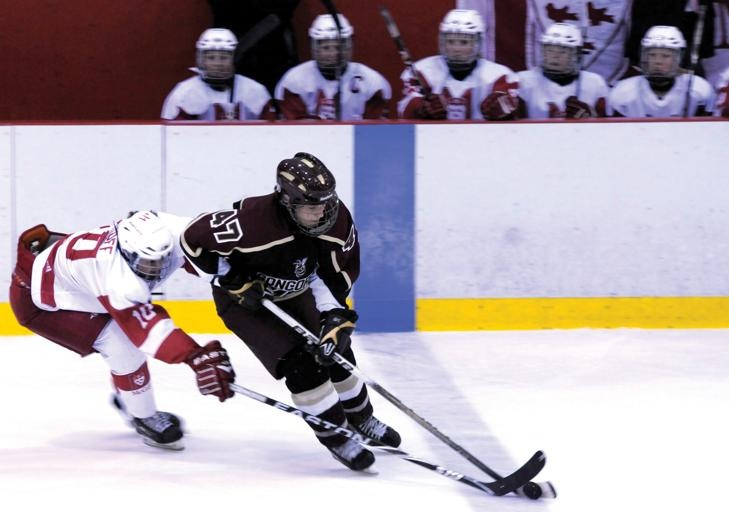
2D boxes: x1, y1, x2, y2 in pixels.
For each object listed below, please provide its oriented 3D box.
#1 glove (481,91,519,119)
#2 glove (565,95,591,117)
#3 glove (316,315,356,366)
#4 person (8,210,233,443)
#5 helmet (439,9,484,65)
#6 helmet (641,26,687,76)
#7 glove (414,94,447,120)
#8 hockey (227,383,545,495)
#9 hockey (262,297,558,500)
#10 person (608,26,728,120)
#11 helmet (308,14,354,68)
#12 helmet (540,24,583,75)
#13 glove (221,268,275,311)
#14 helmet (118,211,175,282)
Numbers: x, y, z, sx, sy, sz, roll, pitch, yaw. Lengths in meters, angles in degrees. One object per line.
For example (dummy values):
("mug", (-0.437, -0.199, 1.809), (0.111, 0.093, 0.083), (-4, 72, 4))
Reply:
("glove", (0.930, -1.032, 7.070), (0.247, 0.184, 0.174), (2, 10, 0))
("glove", (1.524, -1.061, 7.315), (0.117, 0.148, 0.164), (-5, 12, -35))
("glove", (-0.149, 0.398, 5.079), (0.221, 0.220, 0.094), (14, -9, 9))
("person", (-1.305, 0.399, 5.363), (1.283, 1.067, 0.678), (10, 49, -7))
("helmet", (0.676, -1.515, 7.130), (0.380, 0.328, 0.386), (2, 24, 5))
("helmet", (2.109, -1.437, 7.269), (0.387, 0.308, 0.389), (3, 19, 16))
("glove", (0.453, -0.989, 6.806), (0.229, 0.162, 0.077), (0, -17, 16))
("hockey", (0.088, 0.936, 5.159), (1.505, 0.172, 0.173), (13, -30, 19))
("hockey", (0.216, 0.777, 5.421), (1.705, 0.264, 0.208), (25, 56, 5))
("person", (2.284, -1.336, 7.552), (1.245, 0.758, 0.619), (-1, 17, 7))
("helmet", (-0.248, -1.510, 7.180), (0.433, 0.373, 0.382), (-4, 11, -15))
("helmet", (1.382, -1.453, 7.245), (0.340, 0.342, 0.154), (3, 21, 9))
("glove", (-0.591, 0.165, 5.111), (0.244, 0.170, 0.092), (36, -4, -2))
("helmet", (-1.079, -0.039, 5.010), (0.221, 0.275, 0.248), (-40, -6, -34))
